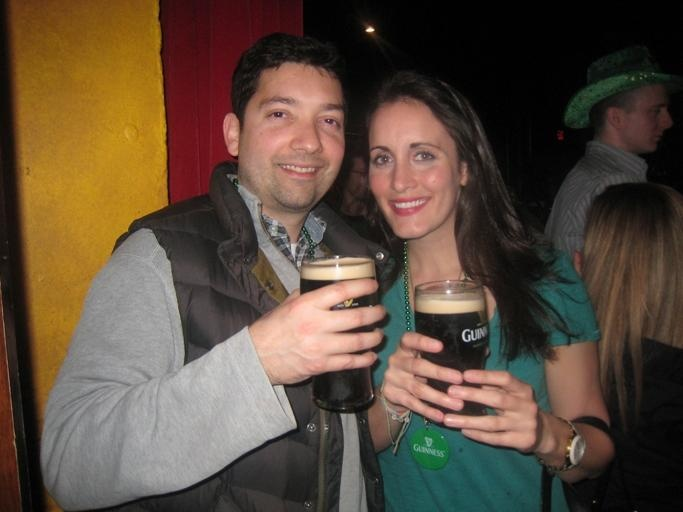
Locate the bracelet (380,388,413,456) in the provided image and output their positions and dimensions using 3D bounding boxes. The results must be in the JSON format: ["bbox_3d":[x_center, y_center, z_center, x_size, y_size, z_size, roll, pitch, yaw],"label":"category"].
[{"bbox_3d":[0.253,0.782,2.829,0.199,0.237,0.088,-1,-24,2],"label":"bracelet"}]

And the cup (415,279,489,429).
[{"bbox_3d":[0.464,0.291,2.491,0.284,0.367,0.229,0,7,24],"label":"cup"}]
